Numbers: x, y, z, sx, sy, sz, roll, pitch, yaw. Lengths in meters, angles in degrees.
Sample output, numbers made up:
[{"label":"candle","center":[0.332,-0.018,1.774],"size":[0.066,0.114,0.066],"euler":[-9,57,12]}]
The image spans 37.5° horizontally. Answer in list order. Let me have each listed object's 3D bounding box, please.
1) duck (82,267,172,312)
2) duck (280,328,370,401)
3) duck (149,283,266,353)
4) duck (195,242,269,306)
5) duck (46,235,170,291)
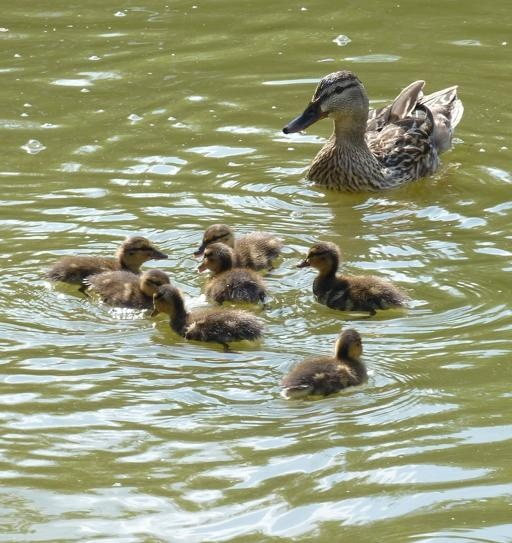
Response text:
[{"label":"duck","center":[-0.959,0.096,5.564],"size":[0.726,0.294,0.312],"euler":[16,29,19]},{"label":"duck","center":[0.371,0.538,4.331],"size":[0.372,0.307,0.652],"euler":[15,20,39]},{"label":"duck","center":[-0.313,0.337,5.048],"size":[0.823,0.326,0.252],"euler":[6,16,7]},{"label":"duck","center":[-0.108,0.034,5.700],"size":[0.710,0.363,0.429],"euler":[16,28,36]},{"label":"duck","center":[-1.186,-0.021,5.952],"size":[1.094,0.397,0.278],"euler":[-2,5,6]}]
